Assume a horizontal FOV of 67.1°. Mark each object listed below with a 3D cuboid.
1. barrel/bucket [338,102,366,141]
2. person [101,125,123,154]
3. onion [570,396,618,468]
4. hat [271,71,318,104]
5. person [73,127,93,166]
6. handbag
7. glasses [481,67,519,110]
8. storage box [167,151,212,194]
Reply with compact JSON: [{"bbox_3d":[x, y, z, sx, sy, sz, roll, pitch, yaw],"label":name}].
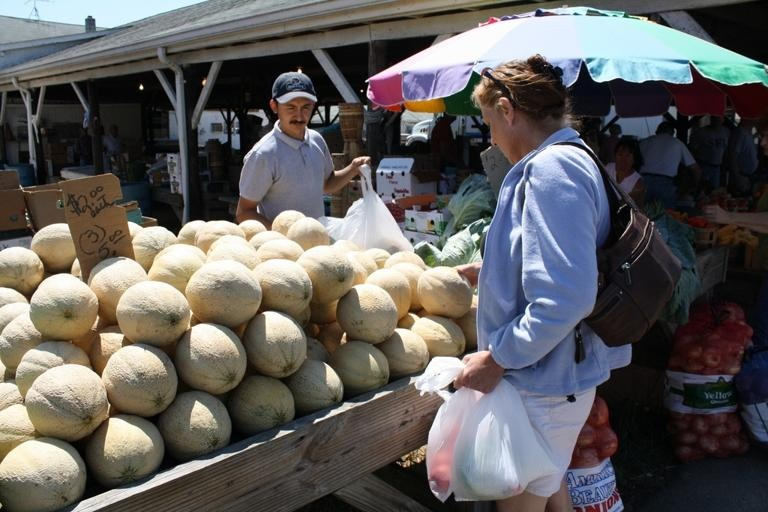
[{"bbox_3d":[-0.401,-1.649,7.207,0.395,0.492,0.386,-1,8,0],"label":"barrel/bucket"},{"bbox_3d":[-7.976,-3.365,16.952,0.449,0.793,1.142,-10,15,-25],"label":"person"},{"bbox_3d":[1.269,1.113,3.664,0.158,0.418,0.316,-19,-35,39],"label":"onion"},{"bbox_3d":[-0.705,-1.299,4.531,0.348,0.250,0.480,-8,15,-22],"label":"hat"},{"bbox_3d":[-9.632,-3.451,18.560,0.503,1.140,1.996,-10,15,-27],"label":"person"},{"bbox_3d":[1.116,-0.061,2.748,0.555,0.952,0.308,-8,14,-18],"label":"handbag"},{"bbox_3d":[0.528,-0.755,2.758,0.178,0.053,0.173,39,6,-7],"label":"glasses"},{"bbox_3d":[-4.161,-1.772,12.319,0.863,0.801,2.069,-8,15,-19],"label":"storage box"}]
